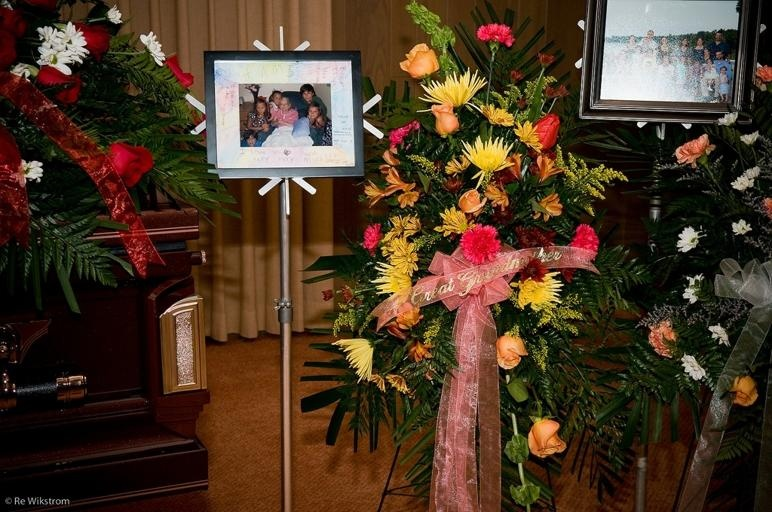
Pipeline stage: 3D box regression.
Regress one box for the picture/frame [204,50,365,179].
[{"bbox_3d":[-0.239,-0.327,1.384,0.303,0.247,0.022,0,5,-3],"label":"picture/frame"}]
